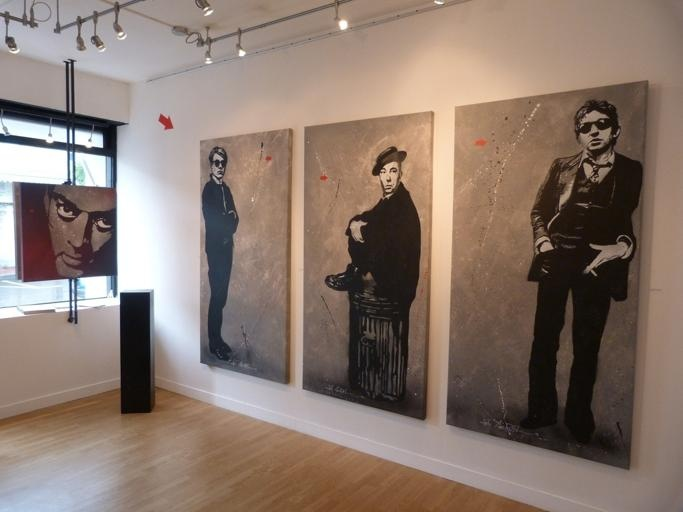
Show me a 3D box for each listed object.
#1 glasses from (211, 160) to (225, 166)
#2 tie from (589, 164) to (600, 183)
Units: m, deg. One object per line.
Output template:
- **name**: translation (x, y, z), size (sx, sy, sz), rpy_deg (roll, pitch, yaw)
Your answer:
- **glasses**: translation (-1.293, -0.975, 6.132), size (0.077, 0.081, 0.022), rpy_deg (3, -2, 13)
- **tie**: translation (1.920, -0.627, 4.433), size (0.067, 0.113, 0.032), rpy_deg (23, -7, -10)
